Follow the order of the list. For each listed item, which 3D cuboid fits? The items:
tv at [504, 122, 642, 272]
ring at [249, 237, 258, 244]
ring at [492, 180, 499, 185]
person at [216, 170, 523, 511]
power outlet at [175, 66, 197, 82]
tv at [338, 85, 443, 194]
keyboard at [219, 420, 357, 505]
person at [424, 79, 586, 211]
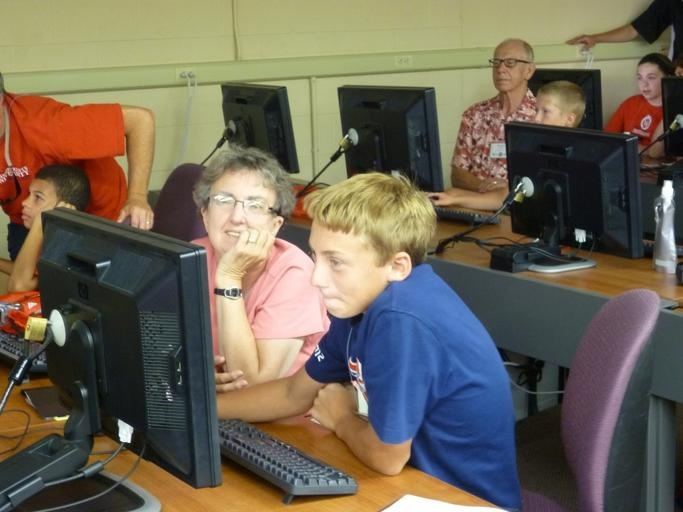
[{"bbox_3d":[0.824,-0.202,2.213,0.157,0.381,0.444,-32,33,-29],"label":"tv"},{"bbox_3d":[-0.239,-0.041,1.675,0.017,0.014,0.018,0,-1,0],"label":"ring"},{"bbox_3d":[0.867,-0.417,3.504,0.028,0.008,0.030,-5,29,3],"label":"ring"},{"bbox_3d":[0.088,0.121,1.746,0.827,1.298,0.505,-1,5,-12],"label":"person"},{"bbox_3d":[-1.028,-1.202,4.097,0.154,0.116,0.079,-7,14,-41],"label":"power outlet"},{"bbox_3d":[0.199,-0.484,2.518,0.211,0.541,0.572,-17,18,-40],"label":"tv"},{"bbox_3d":[-0.113,0.400,1.203,0.102,0.059,0.313,-31,30,-27],"label":"keyboard"},{"bbox_3d":[1.028,-0.829,4.133,0.721,1.158,0.630,20,24,36],"label":"person"}]
